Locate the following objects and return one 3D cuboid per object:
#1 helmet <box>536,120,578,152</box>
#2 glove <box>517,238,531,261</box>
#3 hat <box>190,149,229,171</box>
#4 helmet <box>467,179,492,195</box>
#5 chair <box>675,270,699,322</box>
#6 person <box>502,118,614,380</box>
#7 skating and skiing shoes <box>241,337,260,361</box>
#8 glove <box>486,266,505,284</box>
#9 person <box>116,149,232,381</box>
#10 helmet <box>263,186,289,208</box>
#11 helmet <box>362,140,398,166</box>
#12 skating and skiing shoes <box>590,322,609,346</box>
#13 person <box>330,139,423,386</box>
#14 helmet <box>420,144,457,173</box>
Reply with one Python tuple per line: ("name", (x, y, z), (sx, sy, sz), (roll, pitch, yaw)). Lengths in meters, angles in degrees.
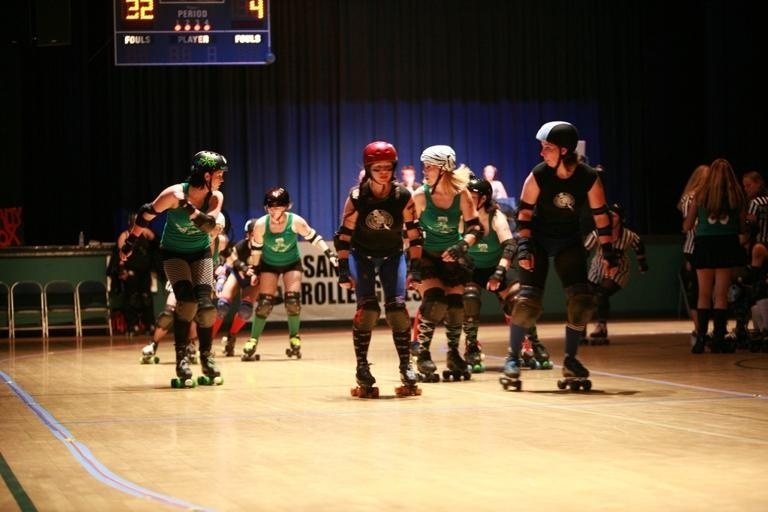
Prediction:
("helmet", (1.524, -1.060, 6.420), (0.322, 0.263, 0.248), (-7, 16, -7))
("glove", (1.220, -0.064, 6.425), (0.128, 0.179, 0.111), (-1, 2, 11))
("hat", (-1.667, -0.899, 7.071), (0.303, 0.221, 0.414), (-2, 2, -14))
("helmet", (1.017, -0.740, 7.830), (0.214, 0.220, 0.166), (-15, 30, -26))
("chair", (5.396, 0.698, 13.232), (0.287, 1.035, 0.389), (-12, -19, 29))
("person", (1.474, 0.013, 6.608), (0.936, 2.318, 0.811), (1, -1, -5))
("skating and skiing shoes", (-1.669, 1.165, 9.299), (0.225, 0.262, 0.395), (-1, 2, -11))
("glove", (1.146, 0.190, 7.513), (0.121, 0.056, 0.183), (32, 13, 24))
("person", (-1.900, 0.123, 7.081), (0.807, 2.233, 0.932), (-1, 2, -14))
("helmet", (-1.319, -0.734, 9.147), (0.217, 0.272, 0.273), (-3, 11, -32))
("helmet", (-0.034, -0.891, 6.349), (0.265, 0.229, 0.209), (15, -8, -1))
("skating and skiing shoes", (3.182, 1.147, 10.804), (0.450, 0.298, 0.194), (5, -8, -31))
("person", (-0.034, 0.123, 6.482), (0.763, 2.174, 0.484), (-1, 2, -2))
("helmet", (0.510, -0.917, 6.982), (0.301, 0.266, 0.353), (-1, 2, 1))
